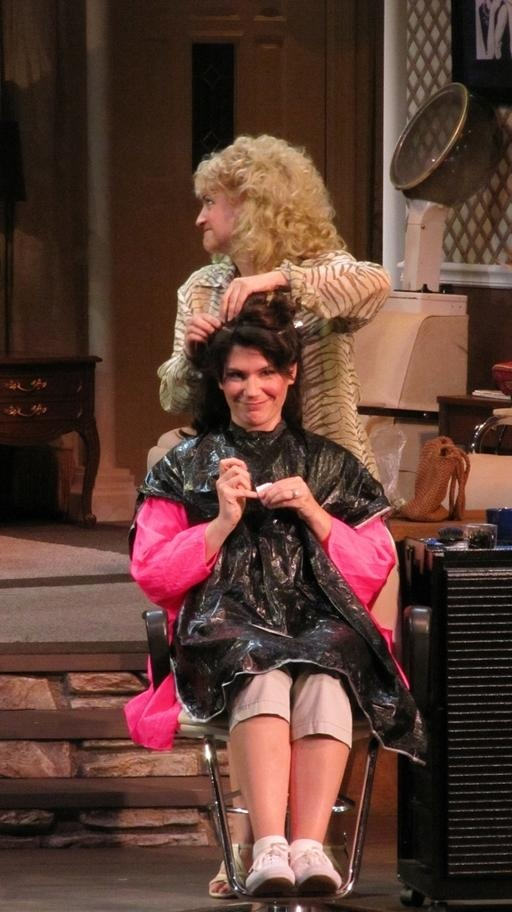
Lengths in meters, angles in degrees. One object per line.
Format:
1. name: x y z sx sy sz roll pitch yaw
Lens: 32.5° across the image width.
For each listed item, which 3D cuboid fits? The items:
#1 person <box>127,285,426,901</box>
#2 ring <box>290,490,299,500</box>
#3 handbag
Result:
1. person: 0.058 0.170 1.304 0.433 0.869 0.444 2 -14 -33
2. ring: 0.054 0.054 1.225 0.006 0.011 0.013 -14 -15 36
3. handbag: 0.356 0.055 1.716 0.102 0.206 0.202 5 -8 -26
